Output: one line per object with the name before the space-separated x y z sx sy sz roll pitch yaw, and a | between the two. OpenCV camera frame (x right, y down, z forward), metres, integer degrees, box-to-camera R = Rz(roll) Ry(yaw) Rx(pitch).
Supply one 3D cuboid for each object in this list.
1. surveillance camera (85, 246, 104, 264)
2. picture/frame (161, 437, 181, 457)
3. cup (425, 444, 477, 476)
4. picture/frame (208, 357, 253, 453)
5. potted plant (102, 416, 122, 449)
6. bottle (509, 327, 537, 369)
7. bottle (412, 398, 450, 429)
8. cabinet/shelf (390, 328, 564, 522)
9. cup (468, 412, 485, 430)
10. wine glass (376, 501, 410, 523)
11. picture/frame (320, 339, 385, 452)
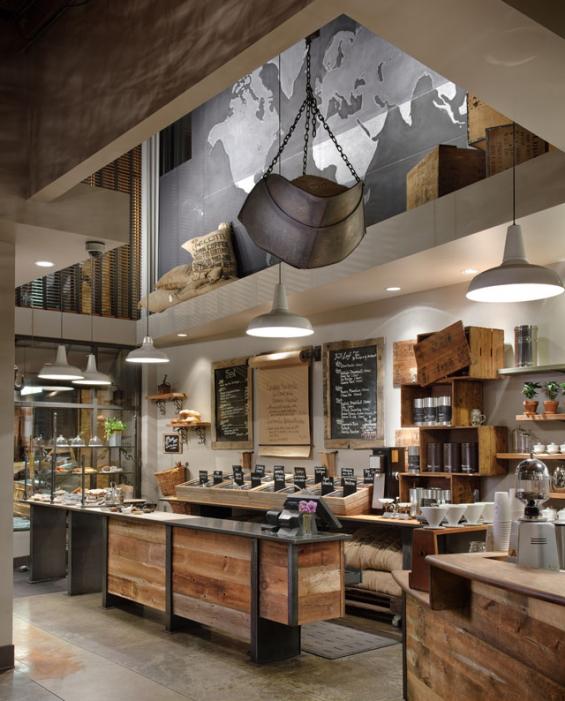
surveillance camera | -1.437 -0.737 4.716 0.120 0.102 0.121 -4 -8 21
picture/frame | -1.708 1.449 9.364 0.127 0.318 0.443 3 -6 -39
cup | 1.390 0.904 5.098 0.445 0.246 0.300 1 -3 45
picture/frame | -0.682 0.750 8.335 0.075 1.602 1.146 4 -8 -33
potted plant | -2.587 1.266 9.406 0.307 0.448 0.664 1 -5 -15
bottle | 1.869 -0.009 4.789 0.154 0.322 0.137 -2 -5 20
bottle | 1.269 0.547 5.280 0.218 0.271 0.393 3 -6 -25
cabinet/shelf | 1.544 0.579 4.789 0.483 1.418 1.491 5 -7 -33
cup | 1.656 0.599 5.186 0.158 0.163 0.112 2 -4 -14
wine glass | 0.981 1.406 5.416 0.153 0.200 0.286 6 -11 -28
picture/frame | 0.767 0.492 6.557 0.119 1.491 1.099 5 -7 -34
